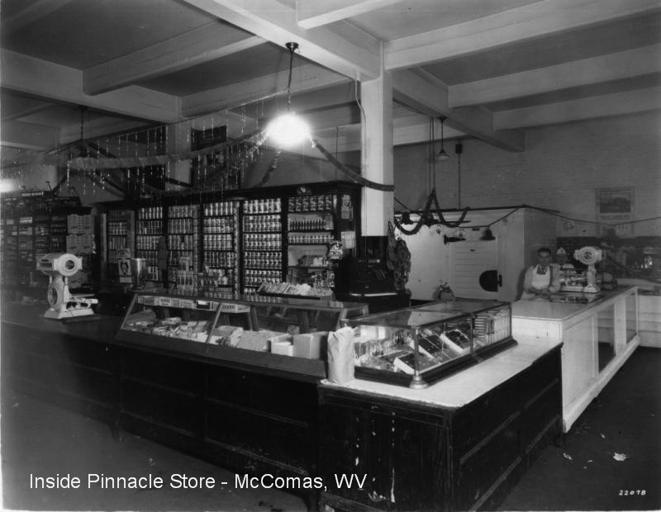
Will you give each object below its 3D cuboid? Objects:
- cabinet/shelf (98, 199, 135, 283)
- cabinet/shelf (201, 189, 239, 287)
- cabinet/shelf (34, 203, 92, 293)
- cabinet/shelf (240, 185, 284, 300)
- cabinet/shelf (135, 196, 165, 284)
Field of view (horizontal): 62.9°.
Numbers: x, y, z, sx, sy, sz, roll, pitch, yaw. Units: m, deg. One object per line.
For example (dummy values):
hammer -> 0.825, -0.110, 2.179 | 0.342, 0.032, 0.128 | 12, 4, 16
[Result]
cabinet/shelf -> -5.126, -0.409, 13.147 | 0.430, 1.785, 0.855 | 2, 7, 42
cabinet/shelf -> -2.360, -0.282, 11.456 | 0.715, 1.750, 0.188 | 0, 20, -13
cabinet/shelf -> -5.948, -0.331, 12.198 | 0.601, 1.996, 1.866 | 1, 3, 12
cabinet/shelf -> -1.337, -0.663, 10.877 | 0.820, 0.270, 1.830 | -2, -40, -8
cabinet/shelf -> -4.185, -0.359, 12.447 | 0.973, 1.820, 0.288 | 2, 4, 38
